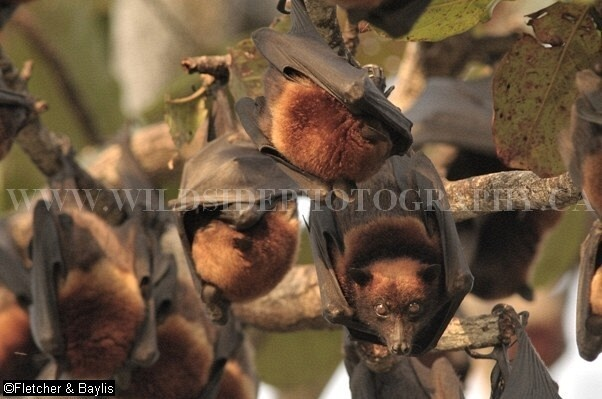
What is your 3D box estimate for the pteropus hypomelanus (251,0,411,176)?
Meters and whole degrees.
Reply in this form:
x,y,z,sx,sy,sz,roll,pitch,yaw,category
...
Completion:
x,y,z,sx,sy,sz,roll,pitch,yaw,category
0.088,-0.362,4.504,0.358,0.532,0.226,-39,-2,22,pteropus hypomelanus
